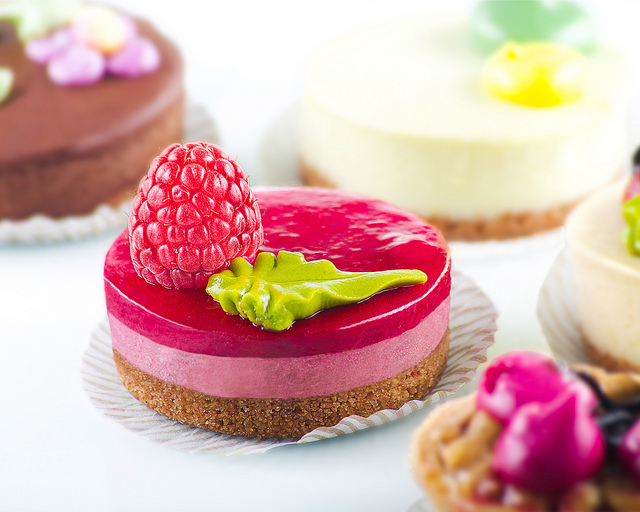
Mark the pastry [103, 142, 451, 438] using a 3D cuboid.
[{"bbox_3d":[-0.023,0.134,1.697,0.762,0.477,0.741,-22,33,-37],"label":"pastry"}]
